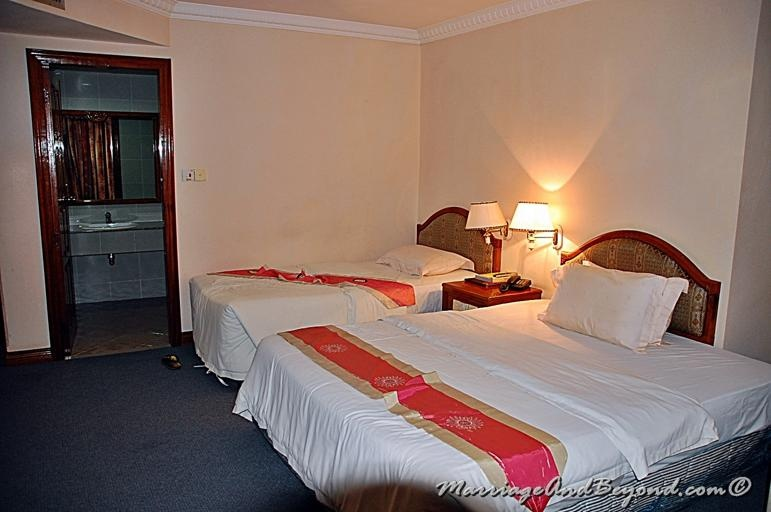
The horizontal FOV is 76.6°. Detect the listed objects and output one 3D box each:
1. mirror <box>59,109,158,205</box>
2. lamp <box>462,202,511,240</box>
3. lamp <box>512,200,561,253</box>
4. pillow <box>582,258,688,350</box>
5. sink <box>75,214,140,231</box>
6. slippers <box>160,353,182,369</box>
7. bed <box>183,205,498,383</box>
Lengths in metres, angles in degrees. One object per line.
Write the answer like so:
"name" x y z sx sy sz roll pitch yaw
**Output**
"mirror" -3.510 -1.271 6.137 1.418 1.334 0.102 -4 9 -33
"lamp" 1.063 -0.329 5.086 0.452 0.423 0.399 -3 -10 9
"lamp" 1.456 -0.278 4.666 0.528 0.480 0.419 -5 8 -34
"pillow" 1.944 0.396 3.772 0.570 0.562 0.166 15 -4 28
"sink" -3.405 -0.422 6.007 0.619 0.207 0.827 -6 11 -27
"slippers" -2.156 1.056 4.943 0.128 0.046 0.194 -1 6 -18
"bed" -0.534 0.335 5.654 3.063 1.266 1.806 -5 11 -30
